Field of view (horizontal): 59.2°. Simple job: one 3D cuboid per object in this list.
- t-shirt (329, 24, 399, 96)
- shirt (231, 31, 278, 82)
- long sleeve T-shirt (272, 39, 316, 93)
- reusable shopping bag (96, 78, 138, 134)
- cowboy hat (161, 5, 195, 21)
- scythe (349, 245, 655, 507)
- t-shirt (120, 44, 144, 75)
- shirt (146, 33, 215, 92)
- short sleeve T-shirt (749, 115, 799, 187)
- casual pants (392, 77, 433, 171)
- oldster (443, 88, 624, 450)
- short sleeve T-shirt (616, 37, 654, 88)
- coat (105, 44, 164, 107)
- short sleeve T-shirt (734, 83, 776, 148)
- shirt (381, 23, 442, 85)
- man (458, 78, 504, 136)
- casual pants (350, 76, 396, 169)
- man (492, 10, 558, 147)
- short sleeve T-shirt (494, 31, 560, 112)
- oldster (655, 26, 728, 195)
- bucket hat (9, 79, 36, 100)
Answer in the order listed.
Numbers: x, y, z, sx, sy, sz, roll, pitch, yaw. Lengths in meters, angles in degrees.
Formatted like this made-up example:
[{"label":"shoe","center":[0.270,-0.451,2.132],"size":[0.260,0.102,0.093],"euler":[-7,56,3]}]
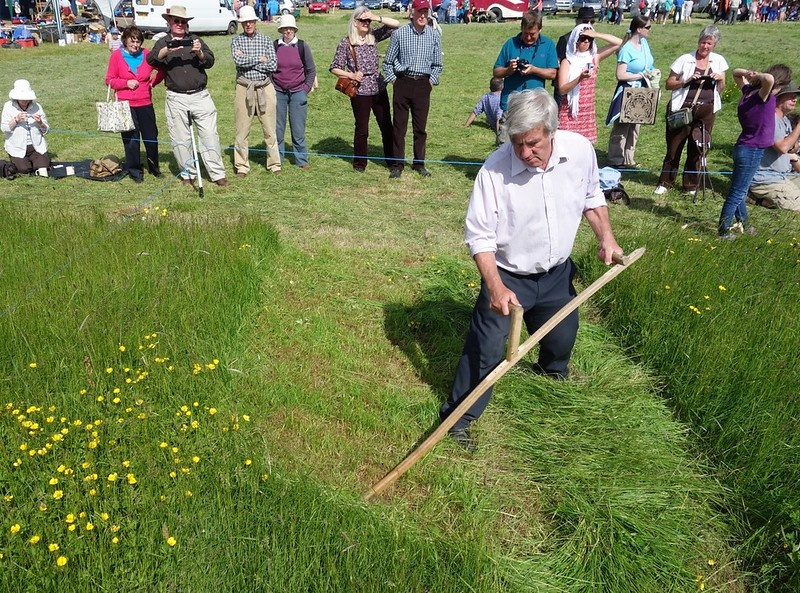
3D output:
[{"label":"t-shirt","center":[-0.587,-3.633,10.572],"size":[0.894,1.014,0.586],"euler":[-5,43,-13]},{"label":"shirt","center":[-2.110,-3.450,10.170],"size":[0.622,0.706,0.404],"euler":[-7,28,-23]},{"label":"long sleeve T-shirt","center":[-1.665,-3.496,10.718],"size":[0.753,0.831,0.462],"euler":[3,9,8]},{"label":"reusable shopping bag","center":[-3.981,-2.591,9.801],"size":[0.445,0.642,0.274],"euler":[6,9,18]},{"label":"cowboy hat","center":[-2.972,-3.767,9.377],"size":[0.406,0.183,0.453],"euler":[-8,19,-29]},{"label":"scythe","center":[0.698,0.565,5.201],"size":[2.196,1.626,0.567],"euler":[-13,26,-28]},{"label":"t-shirt","center":[-3.740,-3.313,9.914],"size":[0.297,0.321,0.229],"euler":[-9,25,-20]},{"label":"shirt","center":[-2.988,-3.278,9.811],"size":[0.912,1.080,0.754],"euler":[-6,36,-12]},{"label":"short sleeve T-shirt","center":[4.862,-1.916,9.205],"size":[0.476,0.929,0.821],"euler":[16,35,22]},{"label":"casual pants","center":[0.163,-2.685,10.666],"size":[0.506,1.462,0.410],"euler":[4,25,-2]},{"label":"oldster","center":[1.048,-0.134,5.440],"size":[1.442,2.756,1.091],"euler":[-19,32,-30]},{"label":"short sleeve T-shirt","center":[3.502,-3.486,10.531],"size":[0.548,0.651,0.413],"euler":[-37,44,-22]},{"label":"coat","center":[-3.755,-3.132,10.054],"size":[0.787,0.761,0.425],"euler":[-13,34,-34]},{"label":"short sleeve T-shirt","center":[4.192,-2.092,8.309],"size":[0.424,0.627,0.301],"euler":[14,27,30]},{"label":"shirt","center":[0.181,-3.508,10.201],"size":[0.934,0.934,0.469],"euler":[-1,23,-10]},{"label":"man","center":[1.617,-3.313,12.601],"size":[1.024,1.108,0.327],"euler":[6,-8,28]},{"label":"casual pants","center":[-0.430,-2.785,11.094],"size":[0.740,1.637,0.404],"euler":[-13,48,-12]},{"label":"man","center":[1.797,-2.867,10.031],"size":[0.819,2.183,0.696],"euler":[-3,32,0]},{"label":"short sleeve T-shirt","center":[1.780,-3.120,9.951],"size":[0.843,1.123,0.637],"euler":[6,39,10]},{"label":"oldster","center":[4.156,-2.649,9.952],"size":[0.736,2.166,0.742],"euler":[2,27,10]},{"label":"bucket hat","center":[-5.394,-2.966,10.110],"size":[0.400,0.198,0.585],"euler":[-4,30,-26]}]
